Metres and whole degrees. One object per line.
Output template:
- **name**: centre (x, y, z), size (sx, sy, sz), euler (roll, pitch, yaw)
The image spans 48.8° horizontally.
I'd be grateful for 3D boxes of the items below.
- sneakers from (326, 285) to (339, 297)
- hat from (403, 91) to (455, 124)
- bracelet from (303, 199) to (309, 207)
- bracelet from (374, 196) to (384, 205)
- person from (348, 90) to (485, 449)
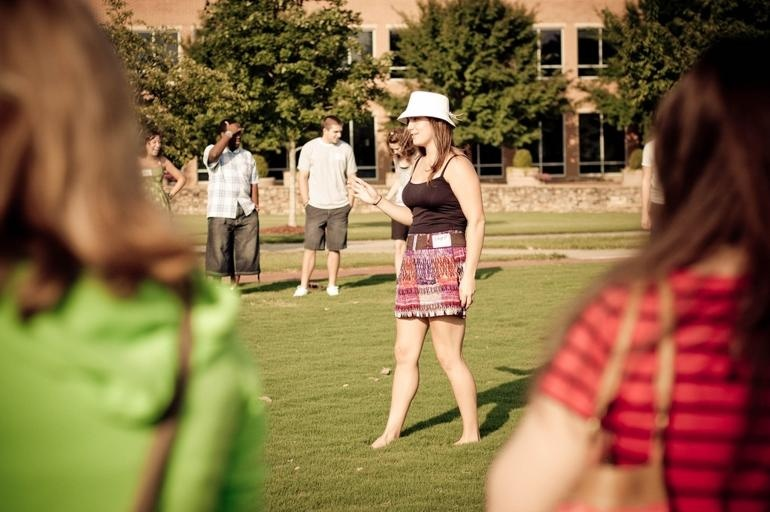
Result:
- **sneakers**: centre (-0.654, 0.435, 10.467), size (0.157, 0.168, 0.122), euler (-7, -26, 27)
- **hat**: centre (0.270, -0.945, 5.155), size (0.264, 0.145, 0.240), euler (6, -2, -16)
- **bracelet**: centre (-0.979, -0.663, 10.392), size (0.063, 0.091, 0.092), euler (-5, -2, 8)
- **bracelet**: centre (-0.039, -0.346, 5.276), size (0.053, 0.013, 0.053), euler (-30, -14, -47)
- **person**: centre (0.274, 0.058, 4.953), size (0.596, 2.050, 0.562), euler (2, 7, 18)
